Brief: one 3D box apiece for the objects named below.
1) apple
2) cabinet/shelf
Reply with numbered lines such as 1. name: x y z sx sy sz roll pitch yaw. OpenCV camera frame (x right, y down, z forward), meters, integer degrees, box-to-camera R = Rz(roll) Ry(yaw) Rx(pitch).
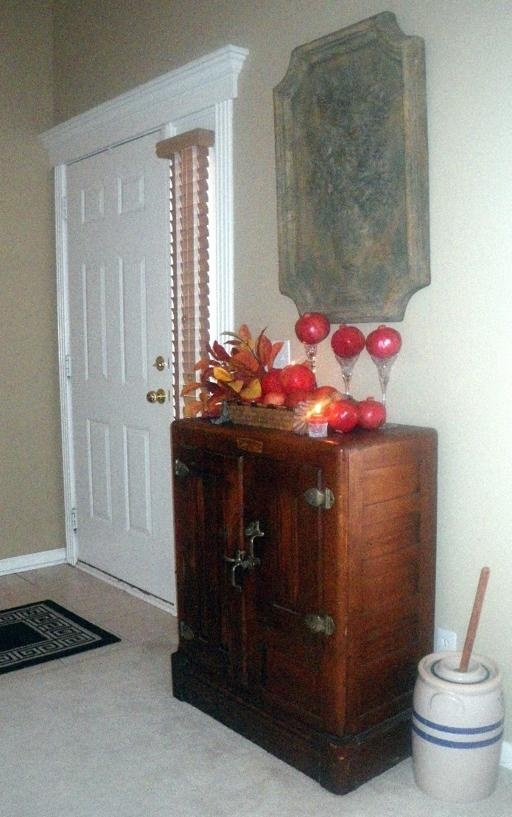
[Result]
1. apple: 0.206 -0.110 1.981 0.380 0.312 0.375 -5 6 -31
2. cabinet/shelf: 0.106 0.469 2.044 0.462 0.826 0.724 -2 3 -41
